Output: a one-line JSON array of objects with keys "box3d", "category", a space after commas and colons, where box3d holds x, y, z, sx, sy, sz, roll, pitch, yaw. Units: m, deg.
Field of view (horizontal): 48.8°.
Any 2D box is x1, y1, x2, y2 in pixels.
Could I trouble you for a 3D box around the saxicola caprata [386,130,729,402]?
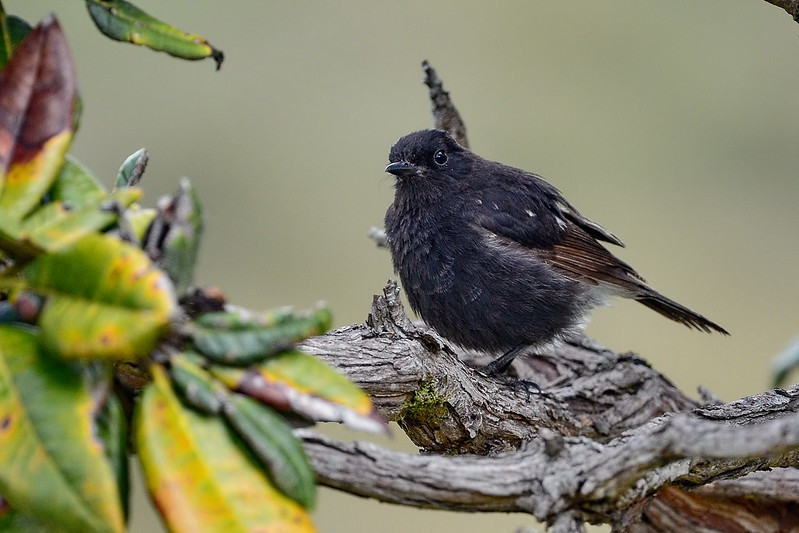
[{"box3d": [0.766, 0.010, 5.832, 1.762, 2.188, 1.503, 1, -89, -4], "category": "saxicola caprata"}]
